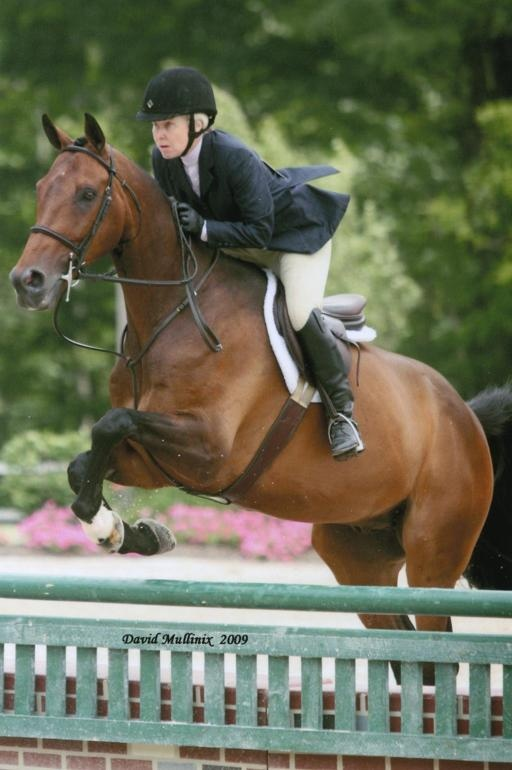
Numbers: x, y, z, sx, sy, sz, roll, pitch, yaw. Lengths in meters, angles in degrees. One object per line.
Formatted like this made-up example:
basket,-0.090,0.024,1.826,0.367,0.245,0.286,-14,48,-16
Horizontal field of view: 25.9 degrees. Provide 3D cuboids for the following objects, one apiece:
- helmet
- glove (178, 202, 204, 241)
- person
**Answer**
helmet,-0.266,-0.986,3.825,0.272,0.126,0.191,-3,5,-43
glove,-0.231,-0.572,3.848,0.045,0.124,0.094,-41,2,9
person,-0.013,-0.429,3.926,0.764,1.342,0.633,-1,15,-3
